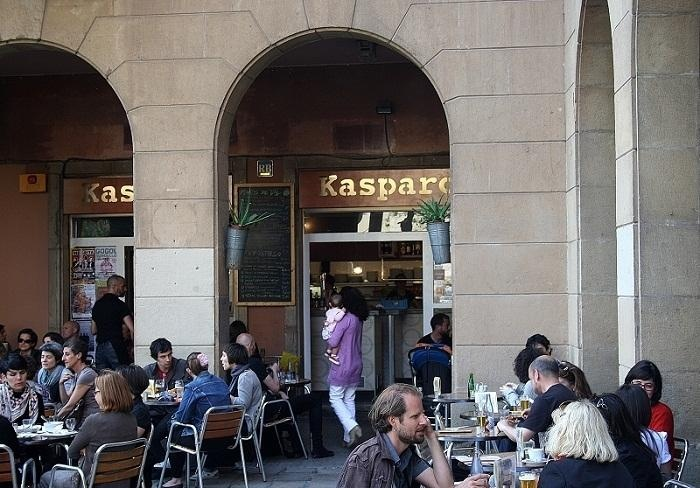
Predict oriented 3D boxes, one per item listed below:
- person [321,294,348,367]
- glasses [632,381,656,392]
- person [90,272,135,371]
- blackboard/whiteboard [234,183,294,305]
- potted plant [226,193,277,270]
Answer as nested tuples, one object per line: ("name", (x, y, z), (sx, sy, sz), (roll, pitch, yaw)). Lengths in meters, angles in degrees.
("person", (-0.197, 1.017, 13.183), (0.263, 0.784, 0.313), (0, 1, 3))
("glasses", (2.627, 1.263, 9.569), (0.188, 0.105, 0.155), (-4, -3, 13))
("person", (-2.909, 1.028, 13.361), (0.582, 1.588, 0.500), (0, 2, 8))
("blackboard/whiteboard", (-1.137, 0.036, 14.879), (0.678, 1.763, 0.215), (-2, 0, -24))
("potted plant", (-1.272, -0.096, 12.724), (0.440, 1.044, 0.350), (-1, 0, 4))
